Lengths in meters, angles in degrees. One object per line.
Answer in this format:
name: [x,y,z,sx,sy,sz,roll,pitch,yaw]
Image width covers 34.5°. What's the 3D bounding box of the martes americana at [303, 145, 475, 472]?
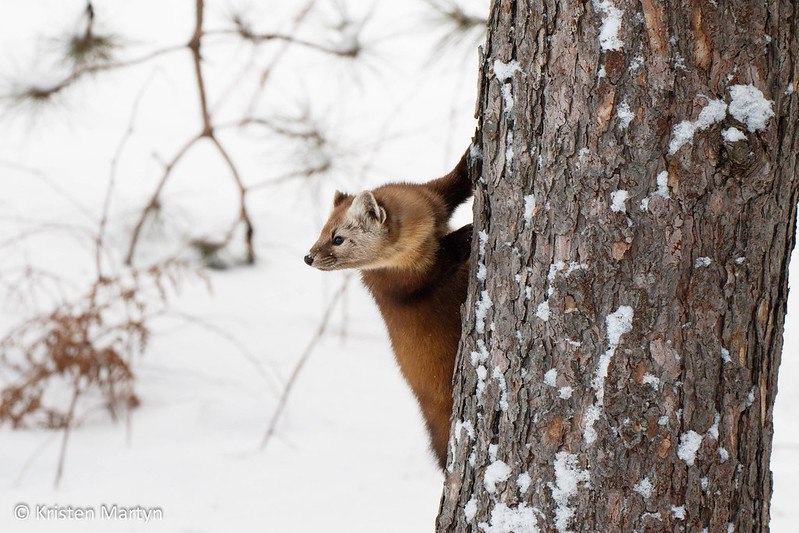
martes americana: [0.067,0.046,8.445,1.192,3.046,0.662,-1,-22,-4]
